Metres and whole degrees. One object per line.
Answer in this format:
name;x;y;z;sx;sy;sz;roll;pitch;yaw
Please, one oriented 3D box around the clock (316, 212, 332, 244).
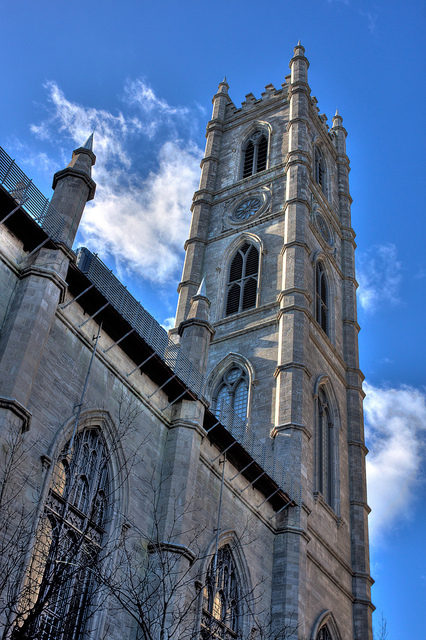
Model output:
clock;6.774;-5.601;40.558;0.167;2.070;1.973;-22;-32;25
